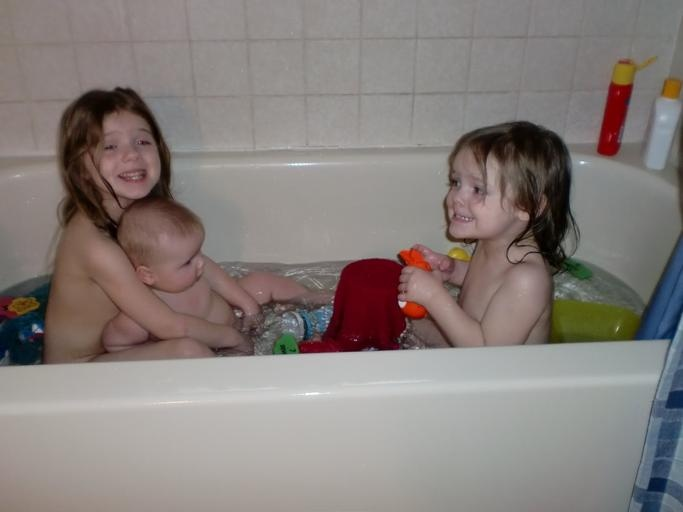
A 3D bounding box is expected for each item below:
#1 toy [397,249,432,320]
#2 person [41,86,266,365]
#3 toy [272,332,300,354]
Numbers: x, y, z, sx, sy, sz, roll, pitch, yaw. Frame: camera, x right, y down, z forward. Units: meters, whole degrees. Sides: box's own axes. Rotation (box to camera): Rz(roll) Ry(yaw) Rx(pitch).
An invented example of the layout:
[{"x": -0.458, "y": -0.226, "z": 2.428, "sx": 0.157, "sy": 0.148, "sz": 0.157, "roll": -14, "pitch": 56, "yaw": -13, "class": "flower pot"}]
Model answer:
[{"x": 0.175, "y": 0.057, "z": 1.267, "sx": 0.060, "sy": 0.092, "sz": 0.169, "roll": 14, "pitch": 54, "yaw": -20, "class": "toy"}, {"x": -0.433, "y": -0.134, "z": 1.527, "sx": 0.599, "sy": 0.813, "sz": 0.583, "roll": 1, "pitch": 23, "yaw": -12, "class": "person"}, {"x": -0.136, "y": 0.211, "z": 1.239, "sx": 0.015, "sy": 0.055, "sz": 0.054, "roll": 7, "pitch": 2, "yaw": -42, "class": "toy"}]
